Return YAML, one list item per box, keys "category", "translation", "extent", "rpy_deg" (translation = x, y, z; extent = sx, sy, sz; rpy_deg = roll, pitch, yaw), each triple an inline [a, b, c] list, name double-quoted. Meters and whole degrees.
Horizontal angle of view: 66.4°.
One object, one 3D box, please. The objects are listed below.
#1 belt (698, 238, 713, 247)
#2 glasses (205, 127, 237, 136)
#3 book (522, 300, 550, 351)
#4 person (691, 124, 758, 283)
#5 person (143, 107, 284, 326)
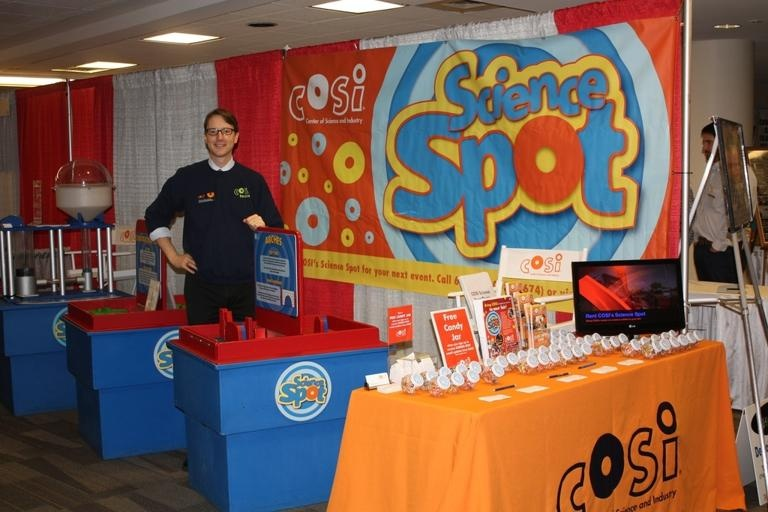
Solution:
- category: "belt"
  translation: [3.256, -0.143, 6.004]
  extent: [0.063, 0.070, 0.065]
  rpy_deg: [8, -16, -36]
- category: "glasses"
  translation: [-1.099, -0.848, 3.994]
  extent: [0.173, 0.054, 0.072]
  rpy_deg: [-8, 12, -28]
- category: "book"
  translation: [0.878, 0.413, 3.430]
  extent: [0.245, 0.363, 0.045]
  rpy_deg: [-3, -2, -42]
- category: "person"
  translation: [3.304, -0.362, 5.887]
  extent: [0.423, 1.276, 0.587]
  rpy_deg: [5, 11, 34]
- category: "person"
  translation: [-1.199, -0.277, 4.141]
  extent: [0.944, 1.471, 0.430]
  rpy_deg: [2, 10, 20]
